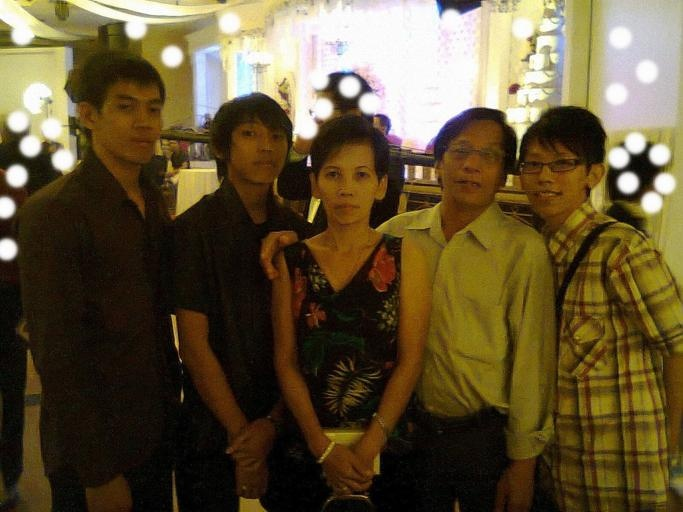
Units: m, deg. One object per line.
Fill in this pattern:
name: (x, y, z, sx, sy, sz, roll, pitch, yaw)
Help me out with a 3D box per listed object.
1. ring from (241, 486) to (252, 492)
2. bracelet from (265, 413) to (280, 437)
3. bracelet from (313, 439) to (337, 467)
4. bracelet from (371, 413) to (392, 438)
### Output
ring: (-0.314, 0.761, 2.009, 0.019, 0.014, 0.020, 1, 6, 0)
bracelet: (-0.220, 0.541, 1.999, 0.040, 0.061, 0.058, 3, -17, -21)
bracelet: (-0.043, 0.595, 1.875, 0.067, 0.020, 0.065, -38, 16, 46)
bracelet: (0.123, 0.514, 1.869, 0.056, 0.073, 0.029, -8, 29, 45)
